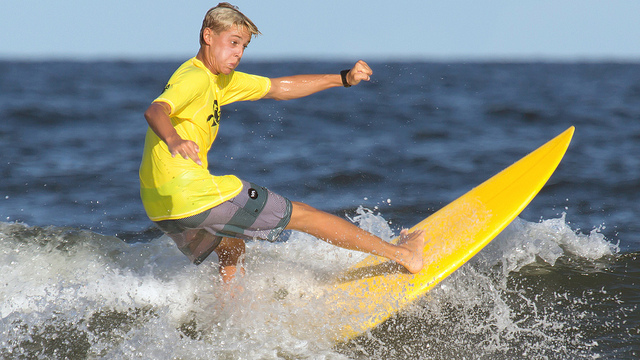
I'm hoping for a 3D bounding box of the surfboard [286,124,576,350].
[{"bbox_3d":[1.778,1.011,13.843,6.356,0.670,1.004,-27,74,-19],"label":"surfboard"}]
